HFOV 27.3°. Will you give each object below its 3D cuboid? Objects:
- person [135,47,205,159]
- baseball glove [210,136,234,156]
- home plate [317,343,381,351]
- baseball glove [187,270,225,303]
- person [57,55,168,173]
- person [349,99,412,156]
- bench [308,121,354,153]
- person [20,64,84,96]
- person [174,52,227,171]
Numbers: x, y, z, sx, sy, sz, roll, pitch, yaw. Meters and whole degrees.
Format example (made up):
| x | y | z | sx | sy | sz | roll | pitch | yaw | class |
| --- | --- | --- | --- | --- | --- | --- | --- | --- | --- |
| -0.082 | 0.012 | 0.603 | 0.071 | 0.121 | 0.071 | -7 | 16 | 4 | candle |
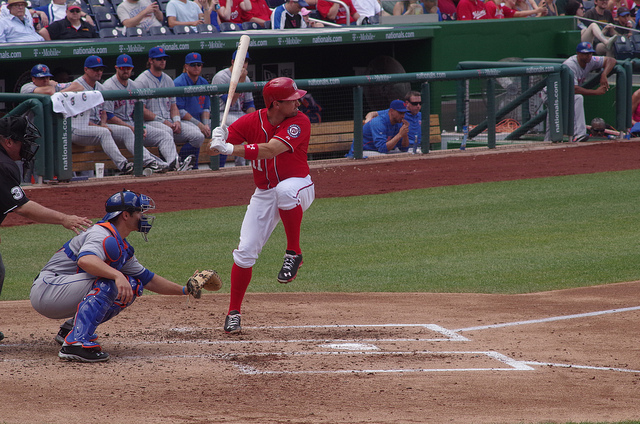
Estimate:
| x | y | z | sx | sy | sz | roll | pitch | yaw | class |
| --- | --- | --- | --- | --- | --- | --- | --- | --- | --- |
| -2.342 | -1.622 | 20.528 | 0.976 | 1.769 | 0.850 | 5 | -7 | -16 | person |
| -1.063 | -0.707 | 14.313 | 0.265 | 0.123 | 0.159 | 24 | -6 | 11 | baseball glove |
| 0.315 | 1.443 | 14.330 | 0.653 | 0.040 | 0.159 | 2 | 9 | 3 | home plate |
| -1.230 | 0.838 | 14.369 | 0.348 | 0.458 | 0.205 | -15 | 45 | 26 | baseball glove |
| -3.192 | -1.411 | 19.977 | 1.204 | 1.750 | 1.098 | -3 | -3 | 40 | person |
| 1.109 | -1.411 | 22.088 | 0.797 | 0.957 | 0.848 | 3 | 9 | 3 | person |
| 0.158 | -1.243 | 21.918 | 1.381 | 0.462 | 0.562 | -1 | 1 | -20 | bench |
| -4.064 | -1.969 | 19.802 | 1.071 | 0.381 | 0.773 | 11 | 16 | 36 | person |
| -1.913 | -1.455 | 20.792 | 0.726 | 1.837 | 1.082 | -6 | 21 | -23 | person |
